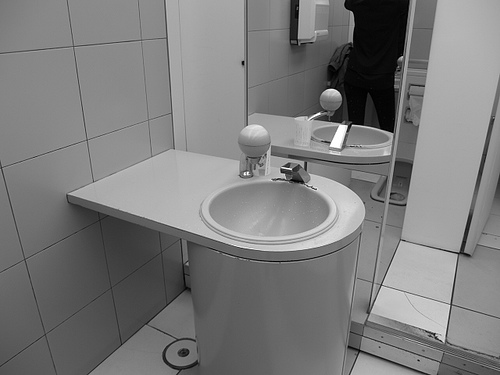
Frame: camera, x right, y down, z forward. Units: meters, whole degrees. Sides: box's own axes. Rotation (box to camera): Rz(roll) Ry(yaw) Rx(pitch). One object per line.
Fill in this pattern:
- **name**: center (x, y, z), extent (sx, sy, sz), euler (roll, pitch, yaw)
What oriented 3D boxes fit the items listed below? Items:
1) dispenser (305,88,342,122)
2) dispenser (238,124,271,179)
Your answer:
- **dispenser**: center (0.346, -0.384, 1.861), extent (0.158, 0.153, 0.060), euler (7, 25, 7)
- **dispenser**: center (0.001, -0.165, 1.741), extent (0.126, 0.248, 0.156), euler (-1, 25, -10)
